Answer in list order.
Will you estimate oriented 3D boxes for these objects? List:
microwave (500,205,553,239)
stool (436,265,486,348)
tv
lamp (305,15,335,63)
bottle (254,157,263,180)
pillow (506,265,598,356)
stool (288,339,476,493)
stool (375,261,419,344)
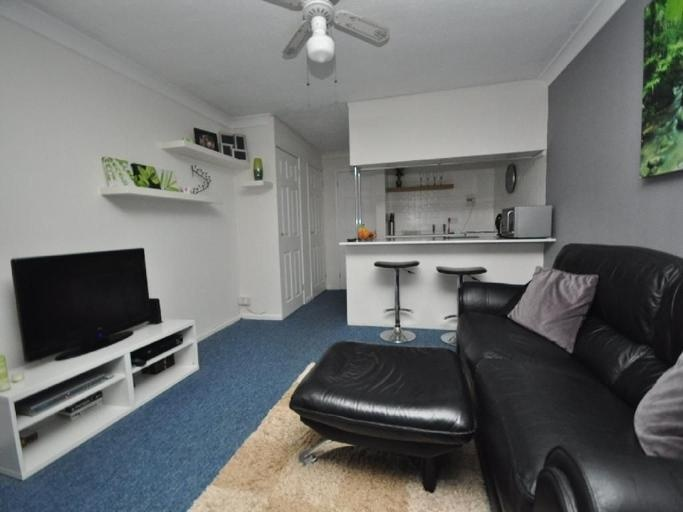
[{"bbox_3d":[1.815,-0.207,4.512,0.344,0.326,0.541,2,-21,20],"label":"microwave"},{"bbox_3d":[1.127,0.465,4.447,0.410,0.737,0.400,4,10,15],"label":"stool"},{"bbox_3d":[-1.859,0.347,3.298,0.194,0.600,0.740,-2,4,32],"label":"tv"},{"bbox_3d":[-0.128,-1.311,2.874,0.157,0.273,0.242,-3,6,0],"label":"lamp"},{"bbox_3d":[-0.885,-0.922,5.044,0.097,0.245,0.156,-4,6,-12],"label":"bottle"},{"bbox_3d":[1.445,0.356,3.216,0.149,0.486,0.501,21,5,-19],"label":"pillow"},{"bbox_3d":[0.279,0.848,2.859,1.016,0.501,0.598,-2,6,15],"label":"stool"},{"bbox_3d":[0.560,0.415,4.581,0.409,0.751,0.568,-2,6,10],"label":"stool"}]
